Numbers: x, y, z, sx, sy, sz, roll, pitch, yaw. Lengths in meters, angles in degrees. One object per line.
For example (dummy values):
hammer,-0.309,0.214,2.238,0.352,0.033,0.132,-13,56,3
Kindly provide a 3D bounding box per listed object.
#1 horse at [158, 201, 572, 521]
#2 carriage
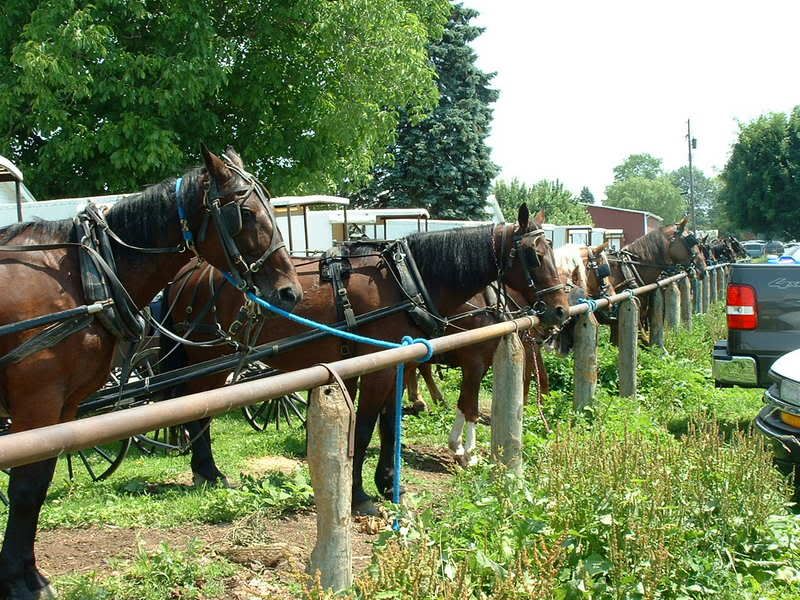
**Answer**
horse,-0.387,0.553,8.109,3.676,2.451,0.833,-1,-8,8
carriage,-0.710,0.176,7.386,2.634,1.957,4.455,-6,-5,36
